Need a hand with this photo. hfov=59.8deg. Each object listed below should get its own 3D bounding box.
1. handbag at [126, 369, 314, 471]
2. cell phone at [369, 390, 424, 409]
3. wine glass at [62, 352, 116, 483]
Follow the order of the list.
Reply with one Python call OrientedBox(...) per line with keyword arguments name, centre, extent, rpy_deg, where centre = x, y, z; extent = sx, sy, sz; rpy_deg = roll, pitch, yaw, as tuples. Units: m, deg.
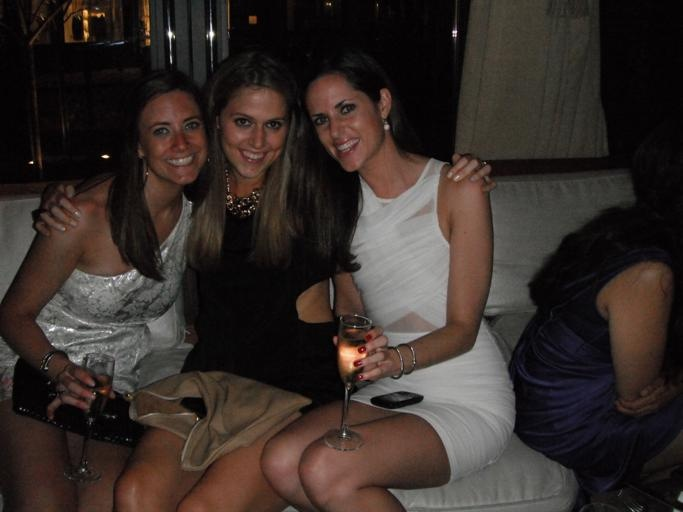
OrientedBox(name="handbag", centre=(-0.423, 0.459, 2.125), extent=(0.420, 0.157, 0.426), rpy_deg=(14, 18, 41))
OrientedBox(name="cell phone", centre=(0.219, 0.545, 2.251), extent=(0.212, 0.043, 0.093), rpy_deg=(-6, 16, -24))
OrientedBox(name="wine glass", centre=(-0.884, 0.563, 2.069), extent=(0.157, 0.418, 0.195), rpy_deg=(-1, 15, -5))
